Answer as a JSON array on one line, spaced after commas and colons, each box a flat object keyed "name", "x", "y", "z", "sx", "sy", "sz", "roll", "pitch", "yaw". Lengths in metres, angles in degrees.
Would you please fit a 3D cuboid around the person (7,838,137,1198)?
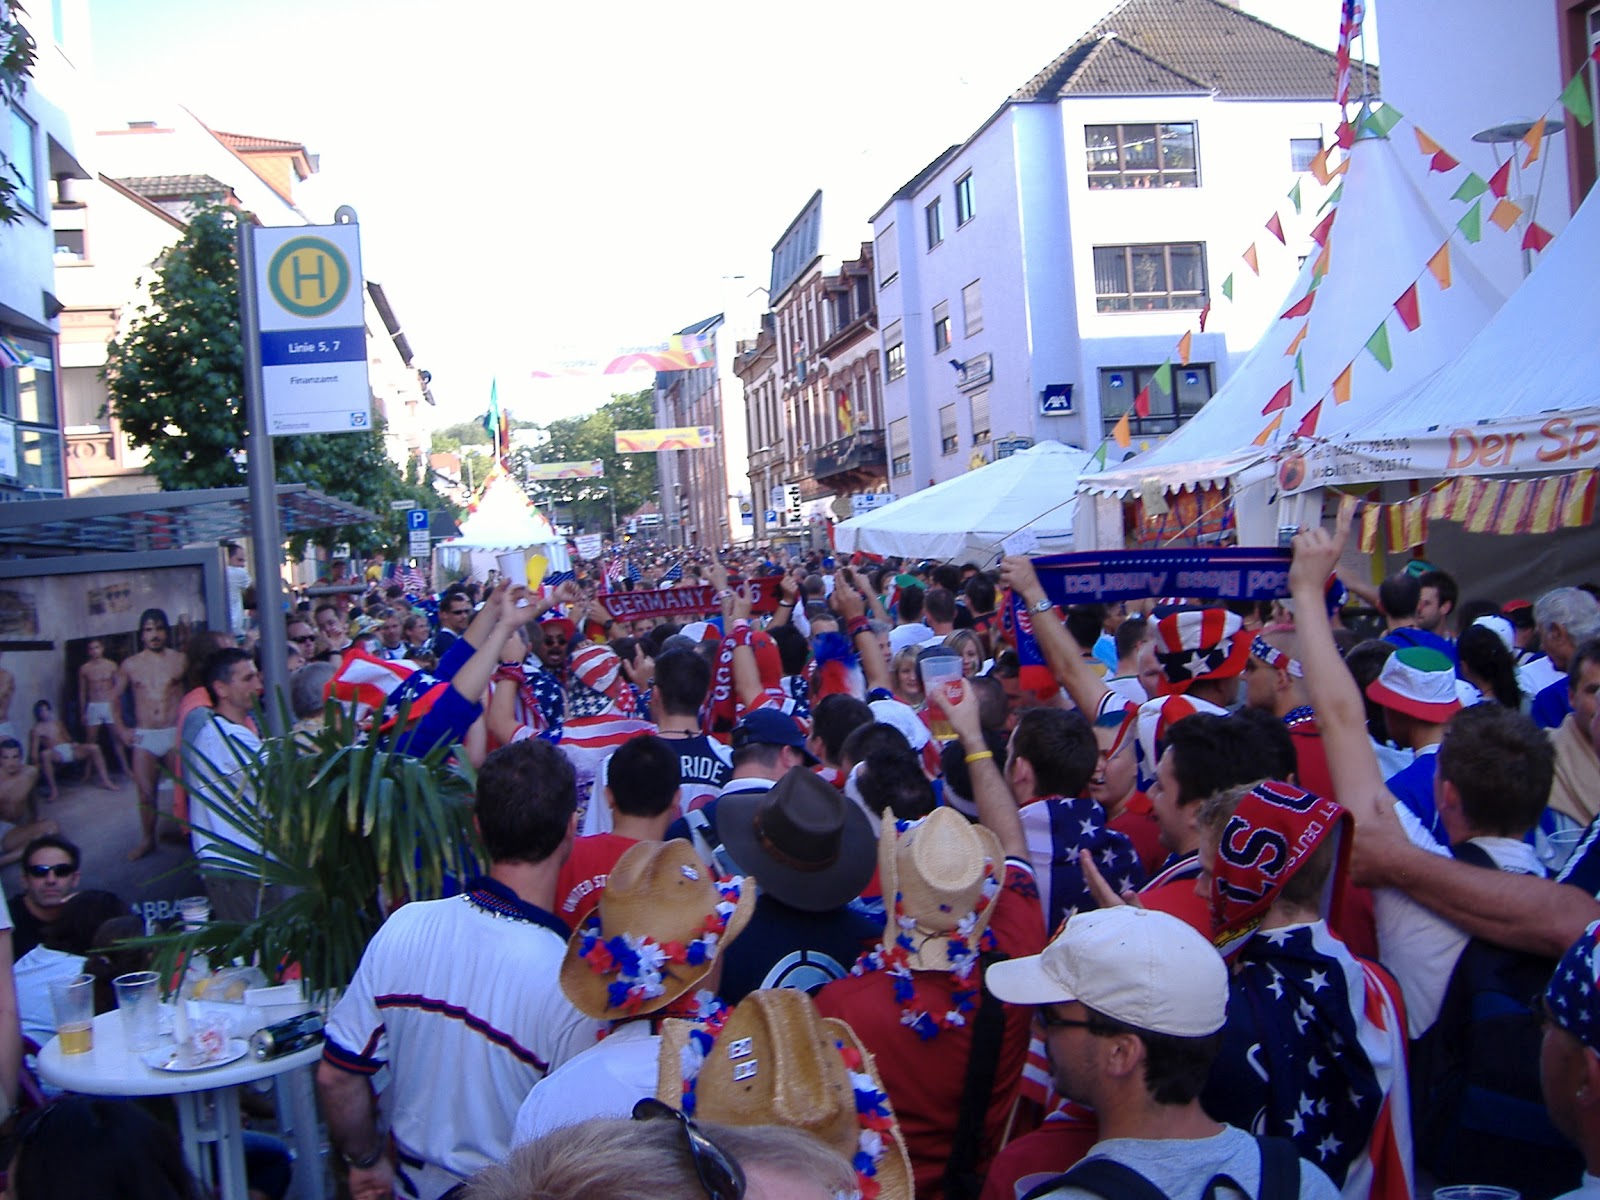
[{"name": "person", "x": -2.675, "y": 1.541, "z": 4.781, "sx": 0.278, "sy": 0.281, "sz": 0.856, "roll": -27, "pitch": -15, "yaw": -51}]

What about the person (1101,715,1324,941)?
[{"name": "person", "x": 1.337, "y": 0.744, "z": 4.381, "sx": 0.378, "sy": 0.763, "sz": 0.756, "roll": 13, "pitch": 10, "yaw": 26}]

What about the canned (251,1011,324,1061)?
[{"name": "canned", "x": -1.741, "y": 1.491, "z": 4.476, "sx": 0.105, "sy": 0.073, "sz": 0.197, "roll": 11, "pitch": 13, "yaw": 36}]

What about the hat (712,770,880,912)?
[{"name": "hat", "x": -0.024, "y": 0.709, "z": 3.961, "sx": 0.402, "sy": 0.170, "sz": 0.432, "roll": -25, "pitch": 60, "yaw": -37}]

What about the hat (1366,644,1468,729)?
[{"name": "hat", "x": 2.412, "y": 0.339, "z": 5.140, "sx": 0.241, "sy": 0.173, "sz": 0.313, "roll": -2, "pitch": 14, "yaw": -12}]

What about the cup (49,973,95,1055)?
[{"name": "cup", "x": -2.534, "y": 1.456, "z": 4.573, "sx": 0.119, "sy": 0.198, "sz": 0.158, "roll": -5, "pitch": 4, "yaw": -31}]

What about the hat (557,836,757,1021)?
[{"name": "hat", "x": -0.370, "y": 0.856, "z": 3.467, "sx": 0.382, "sy": 0.520, "sz": 0.199, "roll": 34, "pitch": -19, "yaw": 20}]

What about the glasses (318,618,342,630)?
[{"name": "glasses", "x": -4.843, "y": 0.232, "z": 13.449, "sx": 0.192, "sy": 0.061, "sz": 0.214, "roll": 3, "pitch": 8, "yaw": -13}]

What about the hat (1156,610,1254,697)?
[{"name": "hat", "x": 2.027, "y": 0.288, "z": 6.529, "sx": 0.398, "sy": 0.228, "sz": 0.414, "roll": -25, "pitch": 45, "yaw": 3}]

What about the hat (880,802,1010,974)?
[{"name": "hat", "x": 0.380, "y": 0.836, "z": 3.782, "sx": 0.295, "sy": 0.466, "sz": 0.170, "roll": 7, "pitch": -14, "yaw": -10}]

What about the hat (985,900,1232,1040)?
[{"name": "hat", "x": 0.768, "y": 0.897, "z": 3.164, "sx": 0.421, "sy": 0.191, "sz": 0.310, "roll": 5, "pitch": 5, "yaw": 10}]

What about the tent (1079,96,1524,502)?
[{"name": "tent", "x": 5.147, "y": -2.754, "z": 12.782, "sx": 3.555, "sy": 2.927, "sz": 3.725, "roll": -7, "pitch": 11, "yaw": -23}]

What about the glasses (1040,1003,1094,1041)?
[{"name": "glasses", "x": 0.653, "y": 1.024, "z": 3.172, "sx": 0.095, "sy": 0.034, "sz": 0.106, "roll": 2, "pitch": -3, "yaw": -1}]

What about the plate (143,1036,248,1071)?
[{"name": "plate", "x": -2.051, "y": 1.529, "z": 4.414, "sx": 0.350, "sy": 0.067, "sz": 0.192, "roll": -4, "pitch": 4, "yaw": -3}]
